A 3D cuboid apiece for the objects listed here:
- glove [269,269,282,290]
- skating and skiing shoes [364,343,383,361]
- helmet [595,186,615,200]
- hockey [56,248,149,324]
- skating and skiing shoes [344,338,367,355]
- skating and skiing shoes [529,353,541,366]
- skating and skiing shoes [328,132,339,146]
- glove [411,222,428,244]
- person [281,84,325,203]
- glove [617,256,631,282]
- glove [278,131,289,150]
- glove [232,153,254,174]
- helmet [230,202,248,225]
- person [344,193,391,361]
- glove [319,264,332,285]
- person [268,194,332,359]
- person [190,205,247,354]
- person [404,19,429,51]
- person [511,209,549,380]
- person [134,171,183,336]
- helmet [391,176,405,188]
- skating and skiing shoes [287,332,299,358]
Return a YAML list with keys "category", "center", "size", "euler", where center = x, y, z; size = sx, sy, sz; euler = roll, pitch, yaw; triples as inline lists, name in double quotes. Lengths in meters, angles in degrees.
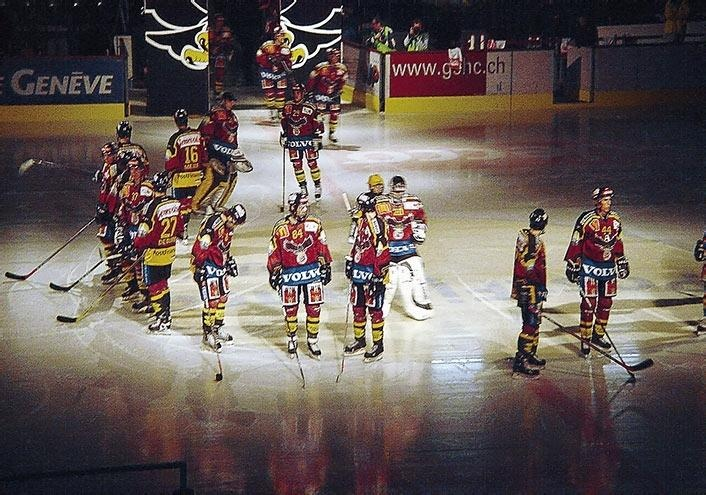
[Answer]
- category: "glove"
  center: [-1.219, 0.518, 14.054]
  size: [0.183, 0.374, 0.176]
  euler: [-7, 12, -22]
- category: "skating and skiing shoes"
  center: [0.359, 1.751, 14.394]
  size: [0.385, 0.241, 0.176]
  euler: [-1, 4, -29]
- category: "helmet"
  center: [4.104, -0.867, 14.396]
  size: [0.266, 0.208, 0.448]
  euler: [3, 11, 23]
- category: "hockey"
  center: [-4.625, 0.784, 16.415]
  size: [2.030, 0.219, 0.341]
  euler: [-35, 65, -30]
- category: "skating and skiing shoes"
  center: [0.069, 1.662, 14.623]
  size: [0.455, 0.285, 0.179]
  euler: [-1, 16, -2]
- category: "skating and skiing shoes"
  center: [2.931, 1.826, 14.154]
  size: [0.293, 0.195, 0.094]
  euler: [-15, 33, -18]
- category: "skating and skiing shoes"
  center: [-0.591, -3.476, 28.241]
  size: [0.193, 0.214, 0.481]
  euler: [-9, 22, -14]
- category: "glove"
  center: [1.158, -0.252, 15.374]
  size: [0.270, 0.340, 0.357]
  euler: [0, 6, -2]
- category: "person"
  center: [-1.229, -2.497, 21.649]
  size: [1.120, 2.848, 0.537]
  euler: [-9, 13, -31]
- category: "glove"
  center: [4.446, 0.358, 14.442]
  size: [0.313, 0.417, 0.160]
  euler: [3, 14, 30]
- category: "glove"
  center: [-1.662, -2.597, 21.531]
  size: [0.310, 0.368, 0.391]
  euler: [-1, 13, -4]
- category: "glove"
  center: [-2.447, -1.851, 19.666]
  size: [0.431, 0.298, 0.595]
  euler: [-21, 41, -30]
- category: "helmet"
  center: [-1.882, -0.536, 14.530]
  size: [0.229, 0.337, 0.673]
  euler: [-3, 10, -6]
- category: "person"
  center: [0.237, 0.494, 14.352]
  size: [0.685, 2.714, 0.507]
  euler: [3, 12, 25]
- category: "glove"
  center: [-0.433, 0.443, 14.128]
  size: [0.225, 0.286, 0.080]
  euler: [5, -8, -9]
- category: "person"
  center: [-0.831, 0.495, 14.153]
  size: [0.987, 2.713, 0.349]
  euler: [-3, 11, -3]
- category: "person"
  center: [-2.189, 0.521, 14.459]
  size: [0.836, 2.399, 0.383]
  euler: [-5, 11, -13]
- category: "person"
  center: [2.578, -8.369, 34.891]
  size: [0.942, 1.177, 0.895]
  euler: [-1, 11, 3]
- category: "person"
  center: [2.823, 0.741, 13.956]
  size: [0.573, 2.632, 0.442]
  euler: [-4, 11, -11]
- category: "person"
  center: [-3.303, 0.119, 15.065]
  size: [0.399, 2.640, 0.750]
  euler: [5, 13, 34]
- category: "helmet"
  center: [0.788, -1.099, 15.009]
  size: [0.204, 0.183, 0.211]
  euler: [-1, 1, -3]
- category: "skating and skiing shoes"
  center: [-0.970, 1.621, 14.416]
  size: [0.141, 0.388, 0.181]
  euler: [0, -8, -1]
